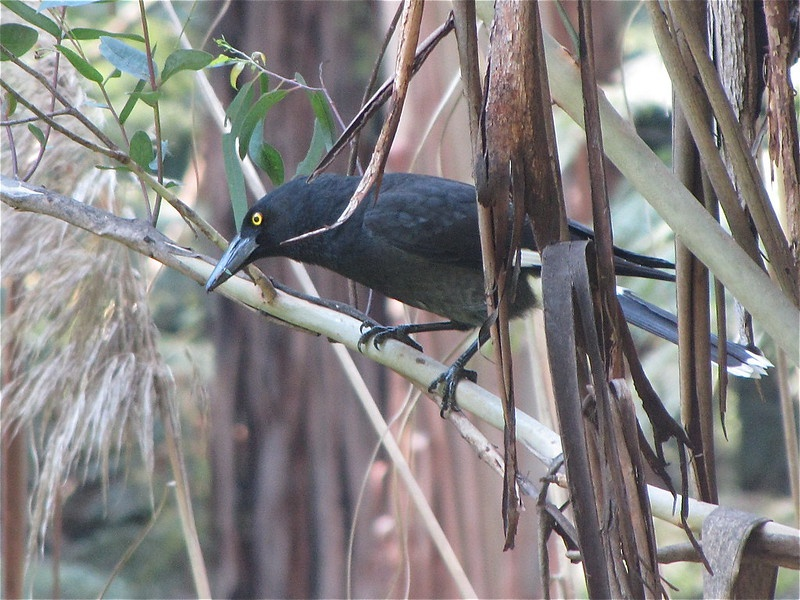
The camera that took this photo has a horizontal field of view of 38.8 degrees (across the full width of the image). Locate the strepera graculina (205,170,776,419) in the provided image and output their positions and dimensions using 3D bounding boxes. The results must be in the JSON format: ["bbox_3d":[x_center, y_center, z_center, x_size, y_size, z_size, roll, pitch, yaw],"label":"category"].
[{"bbox_3d":[0.186,-0.049,2.657,1.255,0.530,0.334,-2,-7,-13],"label":"strepera graculina"}]
